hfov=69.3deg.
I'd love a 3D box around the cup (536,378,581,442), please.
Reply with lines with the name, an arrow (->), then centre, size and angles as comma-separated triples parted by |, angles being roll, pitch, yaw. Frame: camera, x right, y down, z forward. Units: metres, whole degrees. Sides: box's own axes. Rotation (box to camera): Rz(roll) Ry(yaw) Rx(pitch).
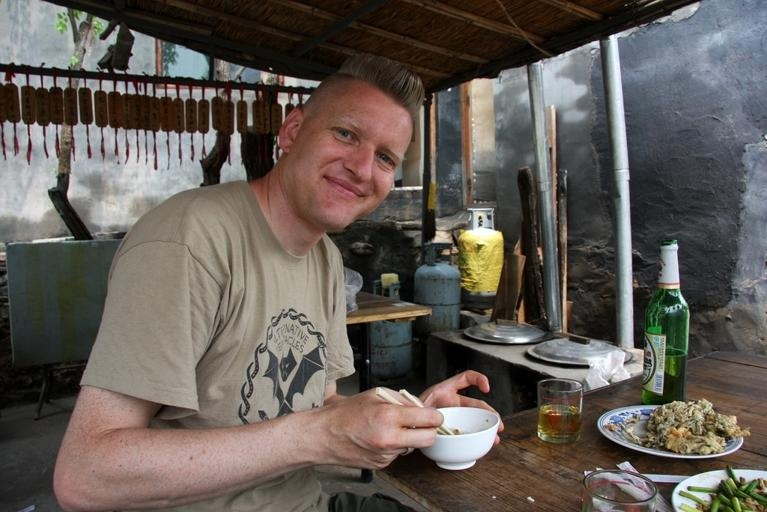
cup -> 0.881, 0.749, 2.803 | 0.171, 0.324, 0.179 | 3, -4, 0

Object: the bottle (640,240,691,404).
bottle -> 1.492, 0.366, 2.906 | 0.244, 0.873, 0.226 | -3, 11, 1

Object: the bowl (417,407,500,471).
bowl -> 0.383, 0.880, 2.678 | 0.312, 0.217, 0.371 | -1, 2, 26
